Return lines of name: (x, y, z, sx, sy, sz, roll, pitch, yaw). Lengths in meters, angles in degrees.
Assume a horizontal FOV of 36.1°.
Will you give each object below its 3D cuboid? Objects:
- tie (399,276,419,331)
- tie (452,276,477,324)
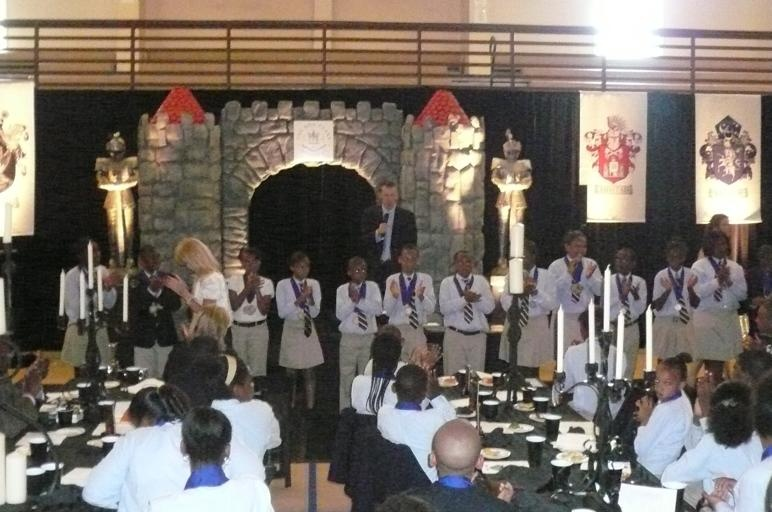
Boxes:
tie: (0.298, 0.591, 15.690, 0.242, 0.578, 0.121, -1, 0, -5)
tie: (0.998, 0.600, 15.311, 0.220, 0.015, 0.689, 1, 42, 0)
